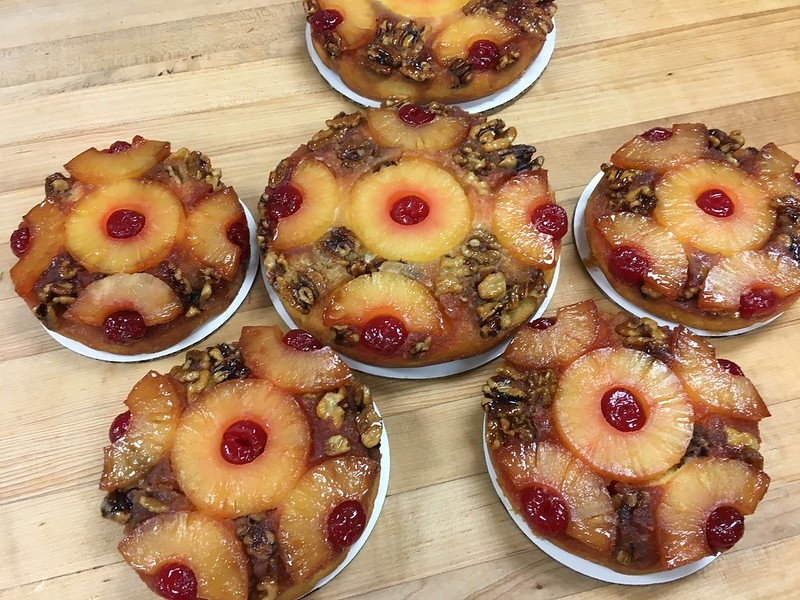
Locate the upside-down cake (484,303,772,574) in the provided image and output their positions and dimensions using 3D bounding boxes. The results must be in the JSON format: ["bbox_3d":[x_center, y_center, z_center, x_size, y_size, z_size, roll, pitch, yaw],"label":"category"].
[{"bbox_3d":[0.801,0.466,3.325,1.033,0.202,0.890,24,71,8],"label":"upside-down cake"}]
